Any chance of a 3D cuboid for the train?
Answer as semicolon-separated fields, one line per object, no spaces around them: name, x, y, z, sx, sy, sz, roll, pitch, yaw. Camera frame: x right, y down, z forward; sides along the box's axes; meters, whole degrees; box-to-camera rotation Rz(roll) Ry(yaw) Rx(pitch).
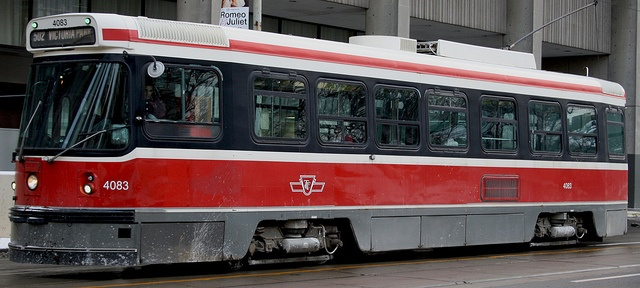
train;3.259;0.660;22.332;25.201;7.386;7.185;3;-6;-29
